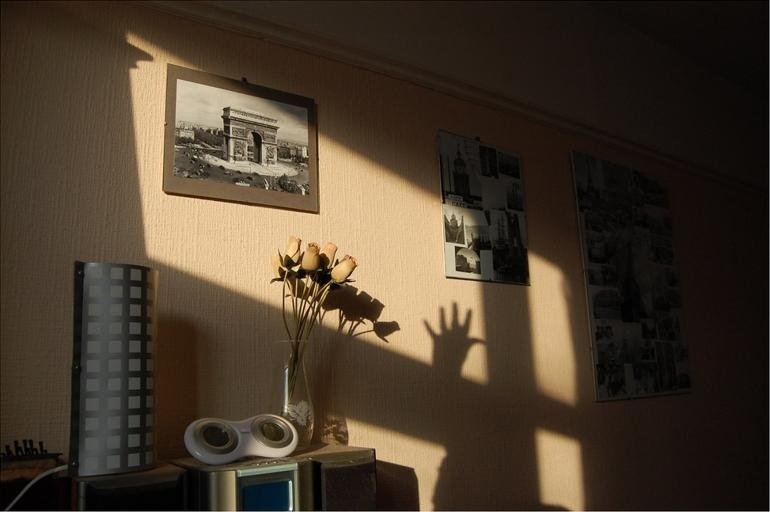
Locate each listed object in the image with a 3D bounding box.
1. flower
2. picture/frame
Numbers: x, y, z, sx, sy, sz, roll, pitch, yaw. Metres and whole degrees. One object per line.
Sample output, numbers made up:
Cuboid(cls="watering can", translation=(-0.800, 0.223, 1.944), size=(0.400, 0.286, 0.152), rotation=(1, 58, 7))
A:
Cuboid(cls="flower", translation=(-0.328, 0.291, 2.492), size=(0.335, 0.653, 0.326), rotation=(17, -9, -13))
Cuboid(cls="picture/frame", translation=(-0.616, -0.472, 2.475), size=(0.630, 0.514, 0.014), rotation=(8, -19, -30))
